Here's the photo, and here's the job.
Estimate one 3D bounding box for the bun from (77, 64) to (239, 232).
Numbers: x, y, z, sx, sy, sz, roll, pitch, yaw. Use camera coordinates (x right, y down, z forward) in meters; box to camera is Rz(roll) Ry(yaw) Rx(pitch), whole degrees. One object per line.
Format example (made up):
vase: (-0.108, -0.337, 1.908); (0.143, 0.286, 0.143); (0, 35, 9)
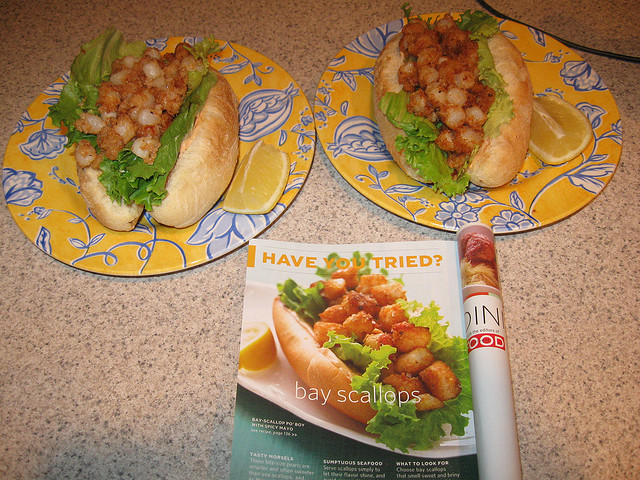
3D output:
bun: (-0.309, -0.195, 1.050); (0.307, 0.162, 0.420); (-3, 43, 1)

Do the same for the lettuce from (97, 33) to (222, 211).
lettuce: (-0.254, -0.171, 0.927); (0.126, 0.073, 0.286); (39, 73, 13)

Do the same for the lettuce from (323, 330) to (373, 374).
lettuce: (0.044, 0.167, 0.837); (0.055, 0.024, 0.061); (1, 52, 5)

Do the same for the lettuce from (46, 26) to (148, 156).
lettuce: (-0.424, -0.288, 1.032); (0.173, 0.063, 0.285); (15, 69, -14)

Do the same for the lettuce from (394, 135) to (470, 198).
lettuce: (0.195, -0.126, 0.994); (0.134, 0.041, 0.088); (28, 80, -3)

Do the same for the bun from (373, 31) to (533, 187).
bun: (0.281, -0.210, 1.004); (0.201, 0.089, 0.351); (0, 75, -1)

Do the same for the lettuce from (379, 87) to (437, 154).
lettuce: (0.152, -0.245, 1.011); (0.103, 0.204, 0.070); (-11, 101, 12)

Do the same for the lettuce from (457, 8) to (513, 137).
lettuce: (0.284, -0.296, 0.976); (0.077, 0.055, 0.228); (-5, 80, -9)
